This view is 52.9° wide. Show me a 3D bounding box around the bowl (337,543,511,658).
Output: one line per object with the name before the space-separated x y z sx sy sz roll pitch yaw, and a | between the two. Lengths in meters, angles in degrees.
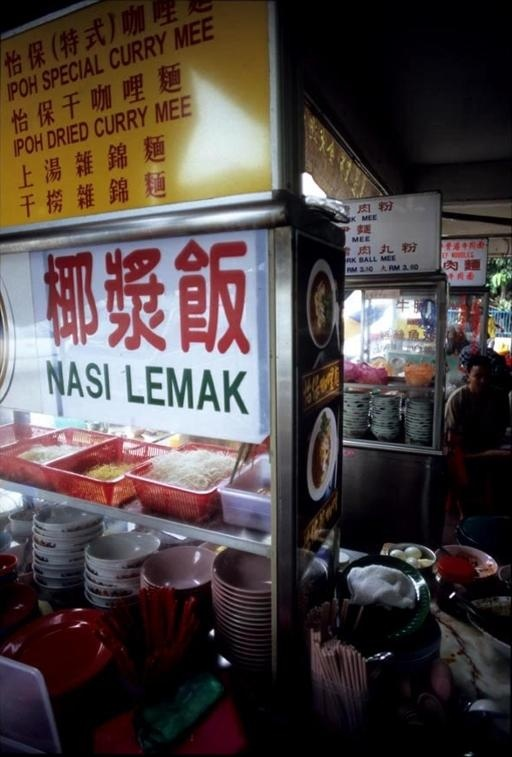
bowl | 0.429 0.573 1.371 0.416 0.138 0.550 2 7 10

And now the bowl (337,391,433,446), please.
bowl | 0.866 0.262 3.449 0.609 0.365 0.306 2 4 23

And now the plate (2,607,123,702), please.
plate | -0.520 0.737 1.401 0.214 0.047 0.227 3 14 15
